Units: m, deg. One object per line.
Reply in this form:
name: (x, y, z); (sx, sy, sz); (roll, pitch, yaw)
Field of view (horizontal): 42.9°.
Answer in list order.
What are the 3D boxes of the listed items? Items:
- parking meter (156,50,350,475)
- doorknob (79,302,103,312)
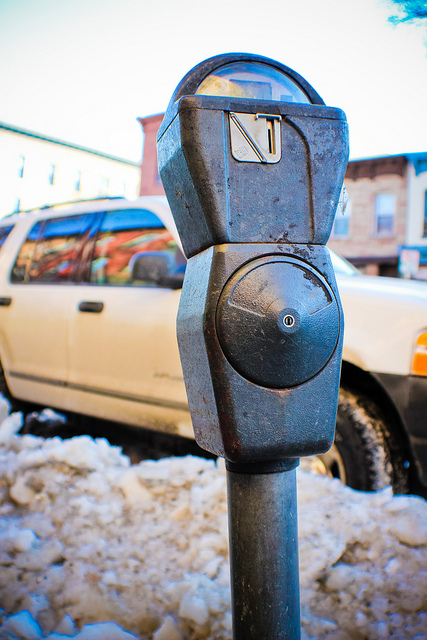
parking meter: (0.077, -0.122, 1.079); (0.396, 0.807, 0.368); (-1, 13, -2)
doorknob: (-0.580, -0.066, 2.575); (0.097, 0.055, 0.027); (-2, -20, 12)
